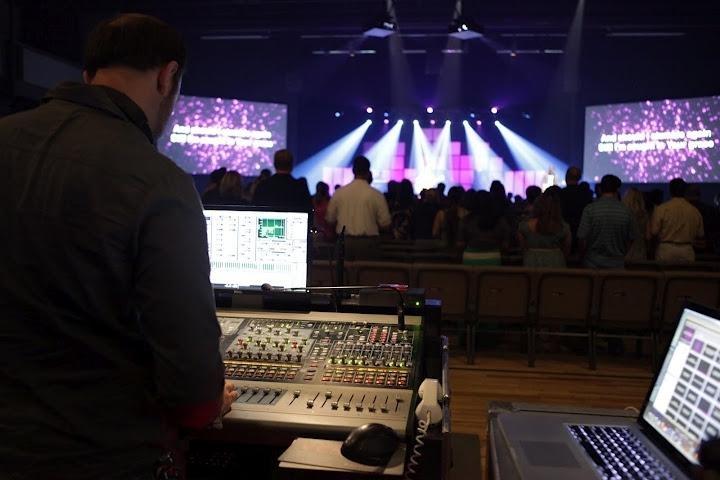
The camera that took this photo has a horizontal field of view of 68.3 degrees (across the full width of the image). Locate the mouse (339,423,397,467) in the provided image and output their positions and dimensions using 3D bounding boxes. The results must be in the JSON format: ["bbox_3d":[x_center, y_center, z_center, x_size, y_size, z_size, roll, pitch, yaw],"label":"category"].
[{"bbox_3d":[0.032,0.602,1.597,0.122,0.065,0.171,16,10,-24],"label":"mouse"}]

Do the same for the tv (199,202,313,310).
[{"bbox_3d":[-0.427,0.067,2.243,0.474,0.411,0.170,0,1,2],"label":"tv"}]

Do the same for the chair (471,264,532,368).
[{"bbox_3d":[1.227,0.637,4.822,0.722,1.006,0.719,1,3,5],"label":"chair"}]

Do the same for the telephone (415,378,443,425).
[{"bbox_3d":[0.225,0.538,1.722,0.087,0.077,0.226,5,18,12],"label":"telephone"}]

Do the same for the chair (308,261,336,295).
[{"bbox_3d":[-0.245,0.238,3.447,0.258,0.250,0.139,0,-4,4],"label":"chair"}]

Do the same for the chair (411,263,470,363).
[{"bbox_3d":[0.766,0.493,4.632,0.495,0.916,0.534,1,6,8],"label":"chair"}]
